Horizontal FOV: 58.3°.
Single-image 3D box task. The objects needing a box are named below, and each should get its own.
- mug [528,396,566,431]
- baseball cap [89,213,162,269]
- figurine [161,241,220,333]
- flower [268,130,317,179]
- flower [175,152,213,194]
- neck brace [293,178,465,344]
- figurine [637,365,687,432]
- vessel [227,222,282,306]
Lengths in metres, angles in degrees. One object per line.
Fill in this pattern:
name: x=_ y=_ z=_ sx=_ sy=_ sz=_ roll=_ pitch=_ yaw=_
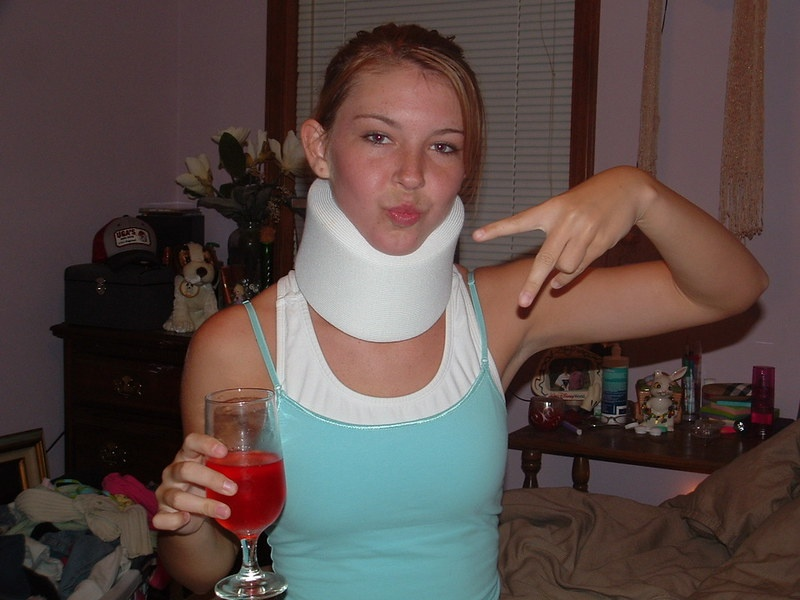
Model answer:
mug: x=0.520 y=0.396 z=2.526 sx=0.114 sy=0.095 sz=0.114 roll=0 pitch=-4 yaw=2
baseball cap: x=-1.065 y=-0.231 z=2.793 sx=0.184 sy=0.152 sz=0.262 roll=0 pitch=1 yaw=-18
figurine: x=-0.809 y=-0.050 z=2.807 sx=0.230 sy=0.335 sz=0.220 roll=17 pitch=20 yaw=39
flower: x=-0.428 y=-0.543 z=2.748 sx=0.215 sy=0.116 sz=0.220 roll=28 pitch=-9 yaw=-34
flower: x=-0.768 y=-0.488 z=2.724 sx=0.079 sy=0.150 sz=0.142 roll=3 pitch=-4 yaw=40
neck brace: x=-0.043 y=-0.036 z=1.395 sx=0.297 sy=0.233 sz=0.316 roll=7 pitch=34 yaw=-7
figurine: x=0.934 y=0.356 z=2.530 sx=0.172 sy=0.269 sz=0.107 roll=-8 pitch=-26 yaw=39
vessel: x=-0.612 y=-0.158 z=2.888 sx=0.216 sy=0.333 sz=0.226 roll=6 pitch=15 yaw=0
